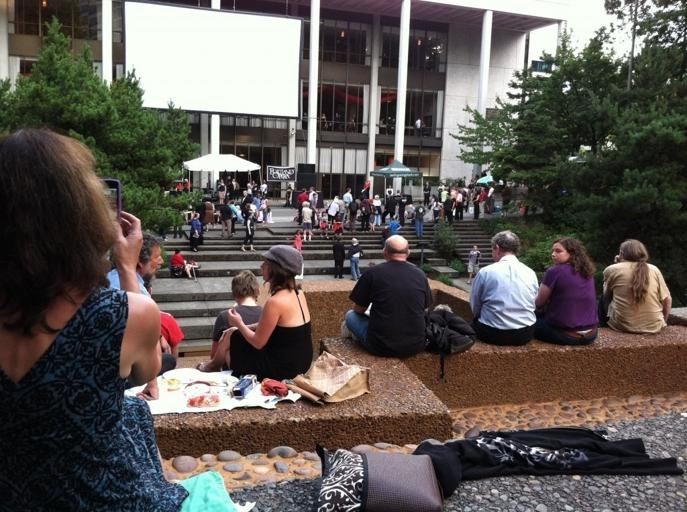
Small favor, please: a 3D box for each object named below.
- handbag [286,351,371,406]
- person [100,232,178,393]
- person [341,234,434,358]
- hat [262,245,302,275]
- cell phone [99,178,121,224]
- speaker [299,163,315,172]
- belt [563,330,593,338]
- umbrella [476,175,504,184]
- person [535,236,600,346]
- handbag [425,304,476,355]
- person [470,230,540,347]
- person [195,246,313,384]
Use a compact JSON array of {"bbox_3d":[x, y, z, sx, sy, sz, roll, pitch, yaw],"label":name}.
[{"bbox_3d":[-0.114,1.074,5.457,0.573,0.256,0.622,8,10,33],"label":"handbag"},{"bbox_3d":[-1.755,0.699,5.855,0.800,1.757,0.612,6,13,9],"label":"person"},{"bbox_3d":[0.415,0.376,6.759,1.062,1.558,1.045,2,5,-5],"label":"person"},{"bbox_3d":[-0.527,0.060,5.565,0.301,0.166,0.237,32,6,1],"label":"hat"},{"bbox_3d":[-1.419,-0.333,3.844,0.132,0.267,0.025,1,6,-4],"label":"cell phone"},{"bbox_3d":[-2.106,-5.134,36.848,1.071,0.491,0.377,-3,10,-32],"label":"speaker"},{"bbox_3d":[2.530,0.855,6.839,0.132,0.079,0.186,0,-9,3],"label":"belt"},{"bbox_3d":[8.005,-4.270,35.435,0.857,0.362,0.931,-1,0,-2],"label":"umbrella"},{"bbox_3d":[2.474,0.412,7.191,0.808,1.251,0.884,3,-9,-20],"label":"person"},{"bbox_3d":[1.100,0.762,6.522,0.449,0.202,0.400,7,9,-23],"label":"handbag"},{"bbox_3d":[1.796,0.348,7.145,0.819,1.249,0.857,2,-1,43],"label":"person"},{"bbox_3d":[-0.740,0.519,5.619,0.864,1.239,0.508,5,9,17],"label":"person"}]
